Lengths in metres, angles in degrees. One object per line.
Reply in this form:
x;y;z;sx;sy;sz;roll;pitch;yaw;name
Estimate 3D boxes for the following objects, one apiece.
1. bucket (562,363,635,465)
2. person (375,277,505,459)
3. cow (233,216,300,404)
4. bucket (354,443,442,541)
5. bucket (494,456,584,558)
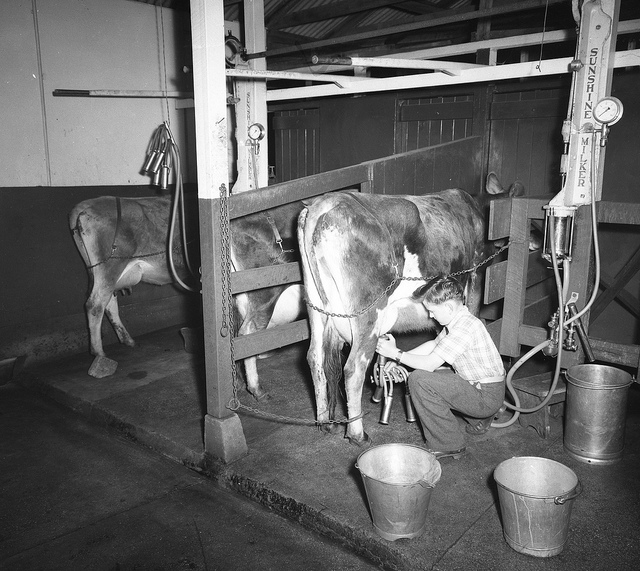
1.984;0.910;4.018;0.481;0.625;0.486;-2;17;0;bucket
0.883;0.555;4.672;1.187;1.684;0.871;2;6;18;person
-0.496;0.097;5.913;0.567;1.836;2.084;-9;-1;3;cow
0.476;1.239;3.327;0.465;0.431;0.445;-1;14;0;bucket
1.245;1.280;3.216;0.438;0.398;0.450;-3;5;0;bucket
